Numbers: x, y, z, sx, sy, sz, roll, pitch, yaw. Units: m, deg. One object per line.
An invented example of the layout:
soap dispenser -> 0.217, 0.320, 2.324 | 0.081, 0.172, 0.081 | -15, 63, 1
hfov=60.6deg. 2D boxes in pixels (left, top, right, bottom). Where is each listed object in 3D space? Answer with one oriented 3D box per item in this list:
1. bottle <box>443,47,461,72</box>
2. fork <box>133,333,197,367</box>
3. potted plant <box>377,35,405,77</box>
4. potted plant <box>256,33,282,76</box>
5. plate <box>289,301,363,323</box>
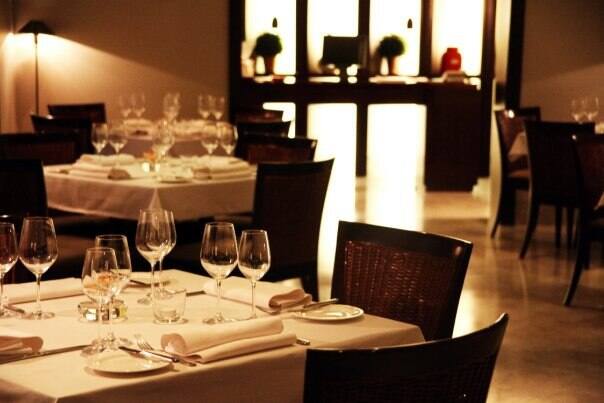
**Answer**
bottle -> 2.585, -2.470, 8.972 | 0.343, 0.416, 0.357 | 3, 11, 17
fork -> -0.328, 0.362, 1.251 | 0.233, 0.029, 0.039 | 5, -35, 35
potted plant -> 1.556, -2.621, 9.335 | 0.544, 0.733, 0.534 | -1, 6, -2
potted plant -> -0.486, -2.517, 8.877 | 0.524, 0.782, 0.520 | 0, 5, 1
plate -> 0.081, 0.342, 1.571 | 0.204, 0.022, 0.125 | -8, 13, -34
